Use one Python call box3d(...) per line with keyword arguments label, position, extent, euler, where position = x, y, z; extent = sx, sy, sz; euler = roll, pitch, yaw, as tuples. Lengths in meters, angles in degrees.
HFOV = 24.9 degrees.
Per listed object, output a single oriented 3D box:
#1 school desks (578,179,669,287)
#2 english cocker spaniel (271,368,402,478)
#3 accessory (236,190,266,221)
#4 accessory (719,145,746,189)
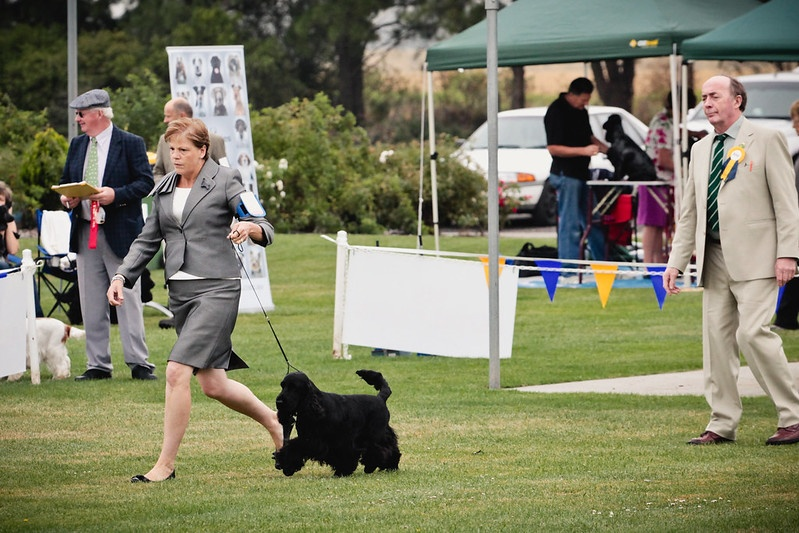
box3d(label="school desks", position=(3.165, -0.558, 25.267), extent=(1.277, 1.160, 1.049), euler=(2, 7, 0))
box3d(label="english cocker spaniel", position=(-0.658, 1.551, 18.167), extent=(1.309, 1.015, 0.679), euler=(-3, 6, -31))
box3d(label="accessory", position=(-1.462, -0.619, 18.076), extent=(0.245, 0.382, 0.179), euler=(-5, -21, -40))
box3d(label="accessory", position=(3.425, -1.077, 18.704), extent=(0.159, 0.399, 0.044), euler=(23, 15, 27))
